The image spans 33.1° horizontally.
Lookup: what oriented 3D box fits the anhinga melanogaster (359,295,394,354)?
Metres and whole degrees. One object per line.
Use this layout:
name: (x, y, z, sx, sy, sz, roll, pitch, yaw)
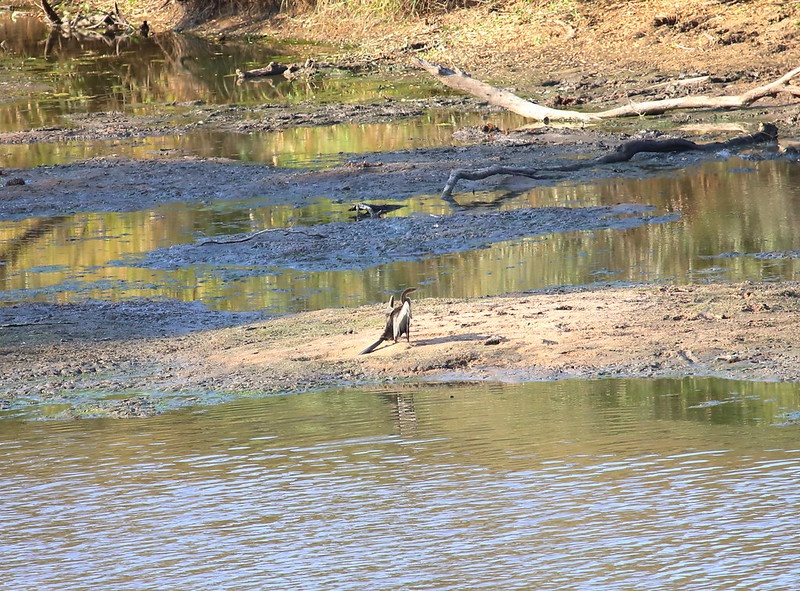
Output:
anhinga melanogaster: (-0.148, 0.294, 13.650, 0.316, 0.558, 0.537, -2, 6, 22)
